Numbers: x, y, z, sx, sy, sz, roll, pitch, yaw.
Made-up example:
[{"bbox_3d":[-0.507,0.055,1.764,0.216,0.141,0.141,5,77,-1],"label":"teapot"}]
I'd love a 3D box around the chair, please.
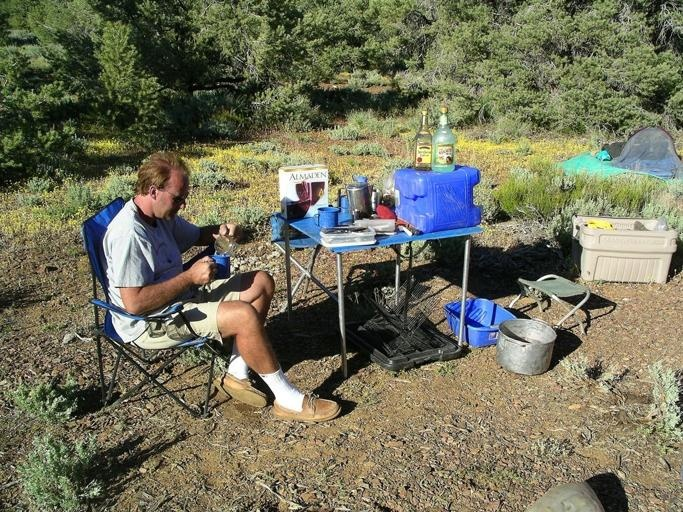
[{"bbox_3d":[-1.417,0.452,4.505,1.273,1.812,1.163,-6,19,-32],"label":"chair"}]

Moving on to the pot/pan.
[{"bbox_3d":[1.580,0.776,4.830,0.523,0.317,0.461,-7,22,-18],"label":"pot/pan"}]

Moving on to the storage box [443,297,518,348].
[{"bbox_3d":[1.312,0.608,5.298,0.468,0.214,0.529,-9,30,-20],"label":"storage box"}]

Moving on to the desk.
[{"bbox_3d":[0.307,0.157,5.414,1.868,1.560,1.668,-4,18,-21],"label":"desk"}]

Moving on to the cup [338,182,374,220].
[{"bbox_3d":[0.101,-0.492,4.925,0.328,0.324,0.186,-8,19,-9],"label":"cup"}]

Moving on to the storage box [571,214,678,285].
[{"bbox_3d":[3.214,-0.044,6.425,1.108,0.749,0.859,5,17,13],"label":"storage box"}]

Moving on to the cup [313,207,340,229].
[{"bbox_3d":[-0.138,-0.339,4.754,0.211,0.154,0.164,-4,25,-10],"label":"cup"}]

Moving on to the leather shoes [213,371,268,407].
[{"bbox_3d":[-0.771,1.052,4.387,0.481,0.176,0.175,26,-3,10],"label":"leather shoes"}]

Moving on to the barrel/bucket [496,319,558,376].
[{"bbox_3d":[1.587,0.767,4.819,0.522,0.319,0.462,-4,21,-11],"label":"barrel/bucket"}]

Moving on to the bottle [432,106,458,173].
[{"bbox_3d":[0.841,-0.973,4.591,0.198,0.518,0.252,-2,19,9],"label":"bottle"}]
